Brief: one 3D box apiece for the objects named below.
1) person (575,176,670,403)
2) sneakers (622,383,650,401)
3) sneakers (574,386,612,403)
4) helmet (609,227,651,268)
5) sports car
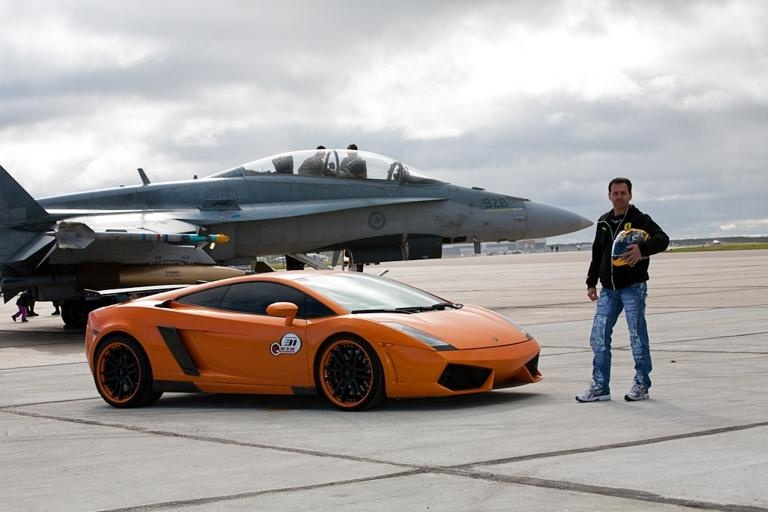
[{"bbox_3d":[2.713,0.360,7.562,0.980,2.472,0.731,-5,5,18],"label":"person"},{"bbox_3d":[2.779,1.522,7.459,0.142,0.131,0.414,-8,-10,43],"label":"sneakers"},{"bbox_3d":[2.423,1.553,7.578,0.534,0.162,0.142,3,-5,-8],"label":"sneakers"},{"bbox_3d":[2.738,-0.118,7.511,0.406,0.460,0.247,-4,5,18],"label":"helmet"},{"bbox_3d":[-1.011,0.818,8.898,5.538,1.015,2.733,-1,11,30],"label":"sports car"}]
